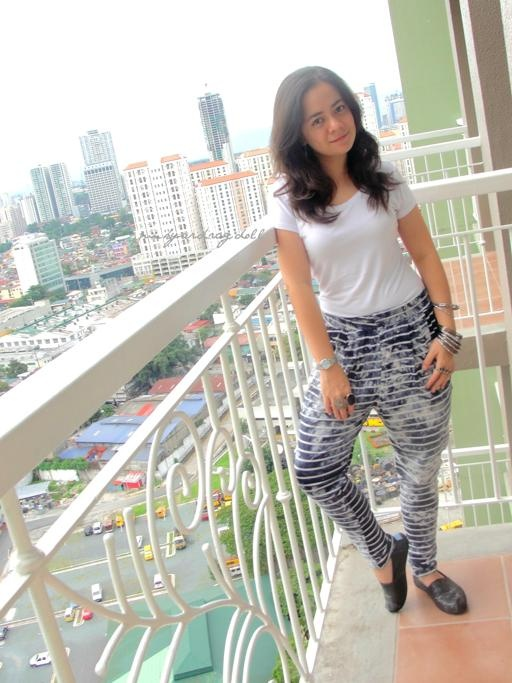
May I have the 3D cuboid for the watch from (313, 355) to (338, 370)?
[{"bbox_3d":[0.180,0.054,1.237,0.052,0.028,0.043,-16,-1,-7],"label":"watch"}]

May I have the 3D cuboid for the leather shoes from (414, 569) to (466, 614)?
[{"bbox_3d":[0.581,0.776,1.544,0.066,0.046,0.149,-20,10,-15],"label":"leather shoes"}]

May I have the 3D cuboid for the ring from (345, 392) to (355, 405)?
[{"bbox_3d":[0.239,0.144,1.248,0.025,0.026,0.009,-2,4,-39],"label":"ring"}]

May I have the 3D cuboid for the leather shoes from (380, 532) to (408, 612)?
[{"bbox_3d":[0.424,0.714,1.526,0.080,0.220,0.086,0,6,-15],"label":"leather shoes"}]

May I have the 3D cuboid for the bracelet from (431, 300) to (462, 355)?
[{"bbox_3d":[0.543,-0.036,1.336,0.053,0.128,0.107,-30,2,12],"label":"bracelet"}]
